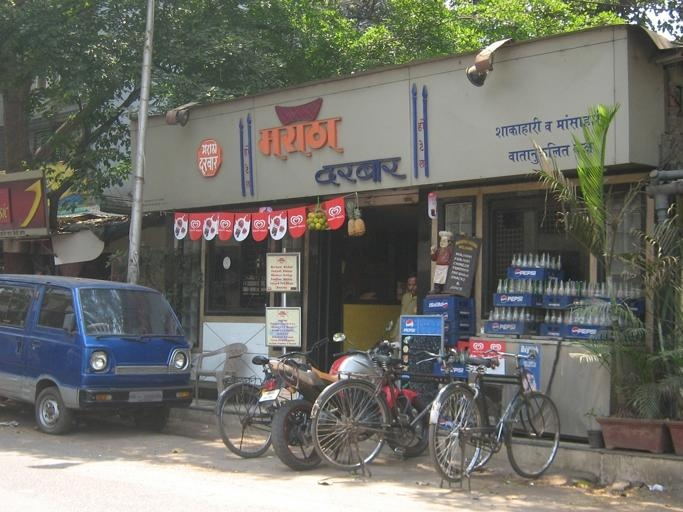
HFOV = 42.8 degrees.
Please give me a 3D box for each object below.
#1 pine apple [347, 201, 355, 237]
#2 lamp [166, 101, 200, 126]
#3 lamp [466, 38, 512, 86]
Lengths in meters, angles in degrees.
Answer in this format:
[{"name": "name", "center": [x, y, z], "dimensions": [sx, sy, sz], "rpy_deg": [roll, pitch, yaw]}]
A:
[{"name": "pine apple", "center": [0.182, -0.673, 14.724], "dimensions": [0.159, 0.560, 0.233], "rpy_deg": [1, -4, 12]}, {"name": "lamp", "center": [-2.982, -2.686, 16.493], "dimensions": [0.336, 0.236, 0.629], "rpy_deg": [-1, 33, 40]}, {"name": "lamp", "center": [2.186, -2.953, 13.231], "dimensions": [0.363, 0.638, 0.799], "rpy_deg": [5, -6, -34]}]
